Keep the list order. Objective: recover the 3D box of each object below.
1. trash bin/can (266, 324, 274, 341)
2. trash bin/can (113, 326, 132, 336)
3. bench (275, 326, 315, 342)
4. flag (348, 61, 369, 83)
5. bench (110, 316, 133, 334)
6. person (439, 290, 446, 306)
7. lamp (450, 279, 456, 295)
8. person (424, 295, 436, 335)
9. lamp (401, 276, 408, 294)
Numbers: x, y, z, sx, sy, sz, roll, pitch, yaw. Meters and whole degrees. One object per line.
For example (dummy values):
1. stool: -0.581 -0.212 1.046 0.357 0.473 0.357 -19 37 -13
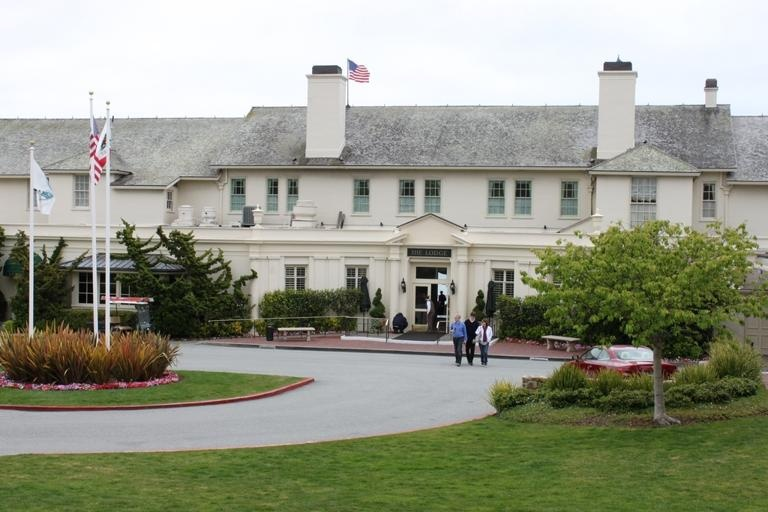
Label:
1. trash bin/can: -5.515 3.825 65.529 0.373 0.770 1.313 0 -3 -4
2. trash bin/can: -11.245 3.261 57.296 0.676 0.611 0.579 -3 -4 26
3. bench: -4.302 3.908 66.041 1.779 0.664 2.721 0 -3 -4
4. flag: -1.299 -10.444 75.606 1.135 1.433 1.799 0 -3 -5
5. bench: -12.280 3.297 62.500 0.910 0.917 1.088 1 -9 -16
6. person: 3.183 2.215 69.046 0.445 0.705 0.121 -1 -3 21
7. lamp: 3.688 1.632 68.377 0.141 0.738 0.483 2 -3 -38
8. person: 2.583 3.031 68.945 0.509 1.798 0.852 0 -3 1
9. lamp: 1.160 1.566 68.869 0.335 0.816 0.223 0 -3 -9
